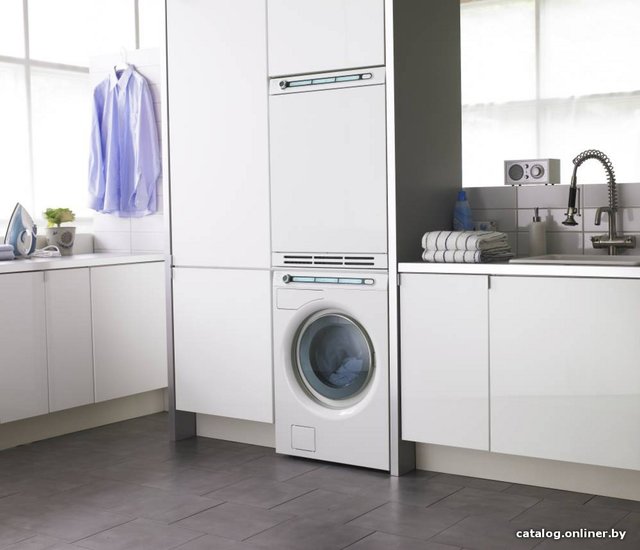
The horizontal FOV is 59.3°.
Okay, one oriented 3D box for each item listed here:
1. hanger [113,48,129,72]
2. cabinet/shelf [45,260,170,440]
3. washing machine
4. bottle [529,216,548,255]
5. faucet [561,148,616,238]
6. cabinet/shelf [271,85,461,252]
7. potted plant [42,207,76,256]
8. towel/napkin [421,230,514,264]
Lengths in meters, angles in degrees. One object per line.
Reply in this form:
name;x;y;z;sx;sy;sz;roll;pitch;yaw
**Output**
hanger;-1.341;-1.433;3.792;0.154;0.171;0.048;5;9;36
cabinet/shelf;-1.280;0.432;3.316;0.329;0.926;0.955;0;2;40
washing machine;0.148;0.419;2.837;0.636;0.893;0.512;0;2;34
bottle;1.059;-0.188;2.714;0.088;0.182;0.077;0;7;1
faucet;1.259;-0.378;2.613;0.227;0.396;0.176;3;8;23
cabinet/shelf;0.140;-0.487;2.881;0.678;1.017;0.677;-1;-1;32
potted plant;-1.735;-0.282;3.737;0.231;0.332;0.224;-3;3;28
towel/napkin;0.693;-0.125;2.489;0.463;0.137;0.238;-4;9;-29
